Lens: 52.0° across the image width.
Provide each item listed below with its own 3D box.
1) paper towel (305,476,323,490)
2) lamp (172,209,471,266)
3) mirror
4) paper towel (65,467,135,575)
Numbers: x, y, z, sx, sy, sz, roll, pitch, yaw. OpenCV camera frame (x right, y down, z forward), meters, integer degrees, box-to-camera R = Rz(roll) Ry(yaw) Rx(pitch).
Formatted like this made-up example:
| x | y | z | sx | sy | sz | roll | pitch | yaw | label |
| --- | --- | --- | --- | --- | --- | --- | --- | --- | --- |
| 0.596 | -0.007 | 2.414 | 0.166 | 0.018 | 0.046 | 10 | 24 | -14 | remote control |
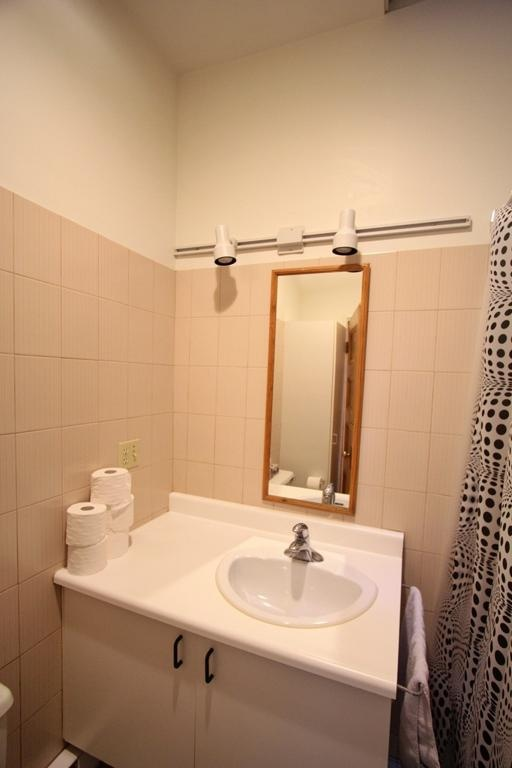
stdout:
| x | y | z | sx | sy | sz | roll | pitch | yaw | label |
| --- | --- | --- | --- | --- | --- | --- | --- | --- | --- |
| 0.193 | 0.320 | 1.718 | 0.046 | 0.055 | 0.036 | 4 | 12 | 30 | paper towel |
| 0.136 | -0.452 | 1.681 | 1.041 | 0.115 | 0.174 | 5 | 11 | 24 | lamp |
| 0.196 | 0.030 | 1.732 | 0.305 | 0.871 | 0.033 | 5 | 25 | 11 | mirror |
| -0.438 | 0.393 | 1.492 | 0.133 | 0.278 | 0.253 | -1 | -1 | 6 | paper towel |
